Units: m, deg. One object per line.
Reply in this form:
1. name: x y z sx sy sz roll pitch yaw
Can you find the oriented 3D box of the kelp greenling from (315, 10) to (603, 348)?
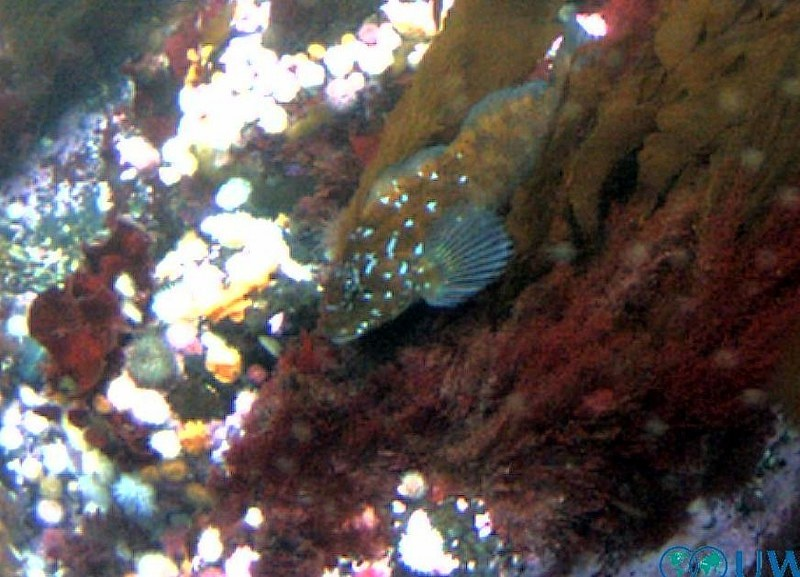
1. kelp greenling: 0.202 -0.283 3.523 0.981 0.374 0.232 -53 1 10
